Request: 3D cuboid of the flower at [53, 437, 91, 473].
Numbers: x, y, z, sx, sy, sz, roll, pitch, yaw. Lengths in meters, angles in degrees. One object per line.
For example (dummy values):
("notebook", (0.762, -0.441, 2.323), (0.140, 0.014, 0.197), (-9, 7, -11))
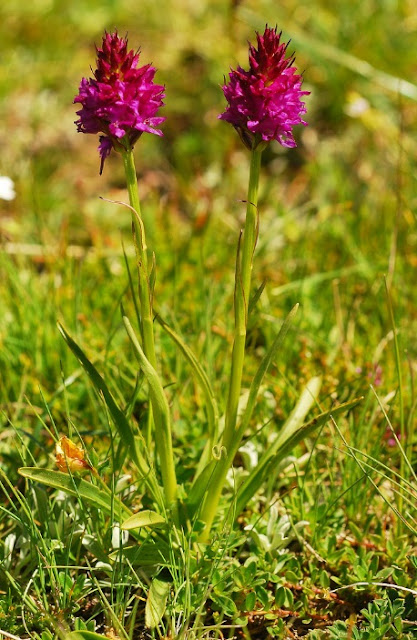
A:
("flower", (-0.251, 0.251, 1.080), (0.028, 0.077, 0.058), (-20, 39, 41))
